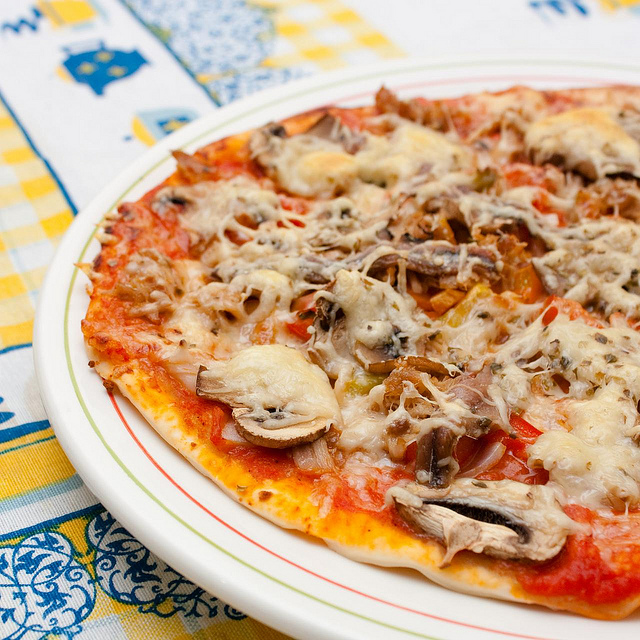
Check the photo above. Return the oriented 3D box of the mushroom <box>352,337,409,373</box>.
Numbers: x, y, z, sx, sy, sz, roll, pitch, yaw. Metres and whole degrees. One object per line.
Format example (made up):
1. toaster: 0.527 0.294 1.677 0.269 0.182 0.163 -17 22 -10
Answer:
1. mushroom: 0.191 0.115 2.504 0.149 0.043 0.125 -13 28 -15
